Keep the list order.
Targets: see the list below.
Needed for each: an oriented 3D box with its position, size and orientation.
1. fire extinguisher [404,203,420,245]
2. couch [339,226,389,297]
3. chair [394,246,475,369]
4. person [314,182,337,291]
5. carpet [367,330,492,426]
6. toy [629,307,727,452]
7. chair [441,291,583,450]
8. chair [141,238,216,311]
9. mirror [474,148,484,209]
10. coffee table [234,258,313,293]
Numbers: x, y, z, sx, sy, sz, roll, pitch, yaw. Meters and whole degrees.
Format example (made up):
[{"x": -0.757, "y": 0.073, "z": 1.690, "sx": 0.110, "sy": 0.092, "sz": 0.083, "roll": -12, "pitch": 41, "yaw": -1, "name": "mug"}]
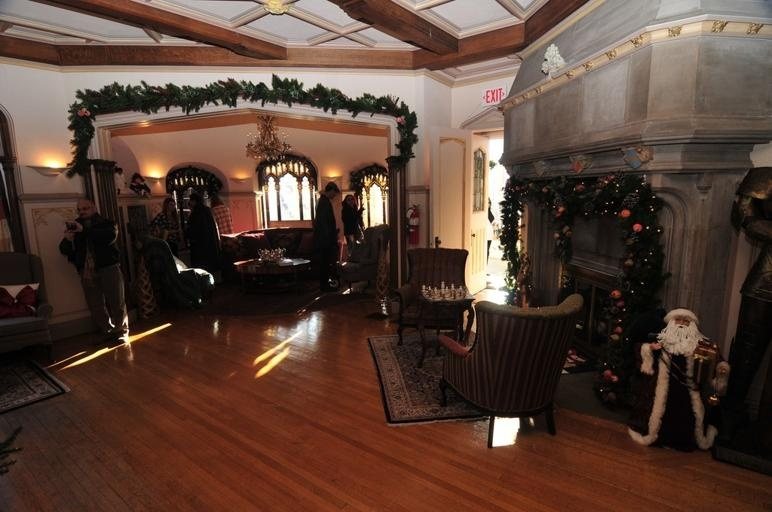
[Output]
[{"x": 0.510, "y": -0.546, "z": 9.250, "sx": 0.265, "sy": 0.761, "sz": 0.350, "roll": -1, "pitch": 10, "yaw": 2, "name": "fire extinguisher"}, {"x": -0.372, "y": 0.089, "z": 10.010, "sx": 0.973, "sy": 1.330, "sz": 1.811, "roll": -4, "pitch": 10, "yaw": -18, "name": "couch"}, {"x": 0.756, "y": 0.662, "z": 7.600, "sx": 1.157, "sy": 1.467, "sz": 1.157, "roll": 4, "pitch": 9, "yaw": 27, "name": "chair"}, {"x": -1.203, "y": -0.416, "z": 10.443, "sx": 0.465, "sy": 2.155, "sz": 1.085, "roll": -2, "pitch": 10, "yaw": -5, "name": "person"}, {"x": 0.575, "y": 1.634, "z": 6.886, "sx": 1.335, "sy": 0.050, "sz": 2.237, "roll": -2, "pitch": 12, "yaw": -5, "name": "carpet"}, {"x": 3.194, "y": 1.343, "z": 5.518, "sx": 0.924, "sy": 1.533, "sz": 0.367, "roll": -1, "pitch": 10, "yaw": -1, "name": "toy"}, {"x": 1.462, "y": 1.268, "z": 6.156, "sx": 1.480, "sy": 1.621, "sz": 1.589, "roll": 2, "pitch": 6, "yaw": -4, "name": "chair"}, {"x": -3.958, "y": 0.287, "z": 9.581, "sx": 1.216, "sy": 1.189, "sz": 1.080, "roll": -3, "pitch": 13, "yaw": -32, "name": "chair"}, {"x": 1.823, "y": -1.499, "z": 9.945, "sx": 0.128, "sy": 1.178, "sz": 0.501, "roll": 4, "pitch": 11, "yaw": 28, "name": "mirror"}, {"x": -2.261, "y": 0.386, "z": 10.457, "sx": 1.456, "sy": 0.642, "sz": 1.184, "roll": -4, "pitch": 10, "yaw": -20, "name": "coffee table"}]
